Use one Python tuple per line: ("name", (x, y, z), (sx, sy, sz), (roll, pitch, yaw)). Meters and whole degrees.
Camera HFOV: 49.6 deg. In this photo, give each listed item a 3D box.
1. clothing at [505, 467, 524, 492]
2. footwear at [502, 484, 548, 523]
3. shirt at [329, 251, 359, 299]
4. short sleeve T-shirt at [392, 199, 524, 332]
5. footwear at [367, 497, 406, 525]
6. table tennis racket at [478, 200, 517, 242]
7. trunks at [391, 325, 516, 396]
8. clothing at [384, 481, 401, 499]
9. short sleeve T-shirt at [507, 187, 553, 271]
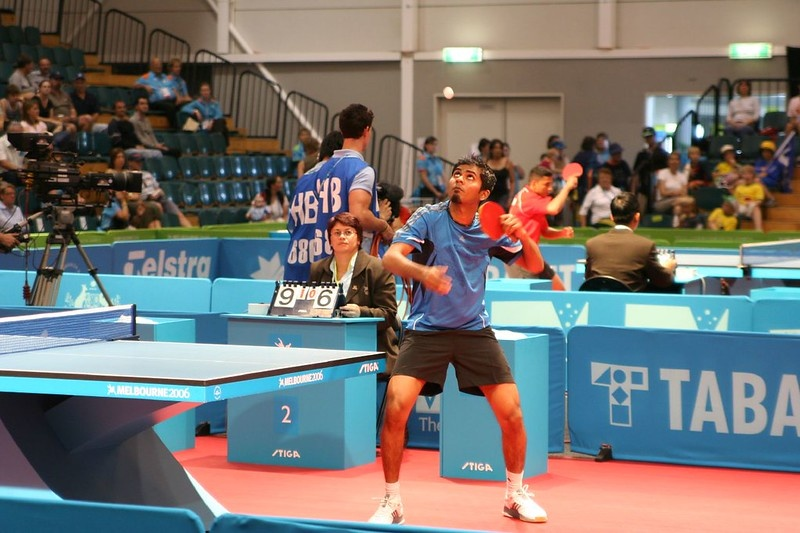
("clothing", (0.662, 1.211, 4.943), (0.123, 0.170, 0.105), (-3, -3, 18))
("footwear", (0.708, 1.361, 5.007), (0.137, 0.166, 0.314), (2, -2, -42))
("shirt", (-0.385, 0.076, 6.118), (0.175, 0.282, 0.295), (0, -5, 2))
("short sleeve T-shirt", (0.344, 0.028, 4.869), (0.889, 0.780, 0.513), (6, -9, -11))
("footwear", (-0.051, 1.298, 4.709), (0.153, 0.182, 0.398), (0, -10, 17))
("table tennis racket", (0.524, -0.250, 4.729), (0.042, 0.190, 0.186), (-4, -11, 34))
("trunks", (0.294, 0.532, 4.946), (0.699, 0.367, 0.250), (-2, -10, -7))
("clothing", (-0.040, 1.238, 4.820), (0.064, 0.089, 0.089), (-1, 0, 1))
("short sleeve T-shirt", (1.090, -0.316, 7.151), (0.298, 0.401, 0.930), (-11, -13, 8))
